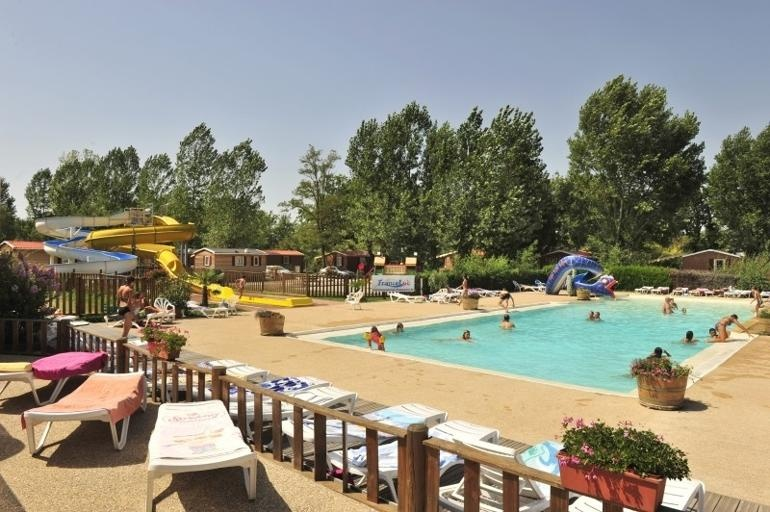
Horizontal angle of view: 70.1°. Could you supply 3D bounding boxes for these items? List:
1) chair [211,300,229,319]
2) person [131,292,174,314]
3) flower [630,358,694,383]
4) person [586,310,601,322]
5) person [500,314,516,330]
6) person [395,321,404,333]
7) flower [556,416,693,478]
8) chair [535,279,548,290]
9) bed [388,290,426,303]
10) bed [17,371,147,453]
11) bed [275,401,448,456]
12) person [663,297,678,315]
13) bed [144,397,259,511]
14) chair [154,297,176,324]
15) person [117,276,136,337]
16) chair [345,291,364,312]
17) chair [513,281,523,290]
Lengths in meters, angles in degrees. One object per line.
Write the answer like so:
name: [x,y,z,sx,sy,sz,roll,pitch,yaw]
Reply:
chair: [-7.605,2.501,25.530,0.808,0.878,0.620,1,-2,-2]
person: [-9.646,1.974,22.751,1.117,0.802,0.726,-14,27,-28]
flower: [6.325,2.599,12.643,1.145,0.436,0.864,0,-2,16]
person: [11.019,3.204,28.869,0.621,0.546,0.766,-1,-8,10]
person: [5.664,3.046,25.397,0.566,0.682,0.955,0,-2,16]
person: [0.594,2.967,22.805,0.350,0.420,0.853,0,-2,1]
flower: [3.189,2.619,7.404,1.274,0.416,1.027,2,1,26]
chair: [13.327,2.479,47.268,0.795,0.951,3.449,0,-2,12]
bed: [1.386,2.735,35.079,1.650,0.615,0.877,-5,2,11]
bed: [-5.384,2.887,10.288,1.382,0.777,2.531,1,3,-6]
bed: [-0.226,3.093,10.113,2.804,0.419,1.179,-4,6,-43]
person: [16.478,2.875,31.786,0.653,0.941,2.217,0,-2,29]
bed: [-3.027,3.199,8.944,1.593,1.265,1.900,1,-2,-24]
chair: [-9.195,2.302,22.814,0.931,1.387,0.986,-2,2,-41]
person: [-8.282,1.710,17.807,0.676,2.060,0.552,-2,12,-44]
chair: [-1.657,2.508,30.034,0.924,1.247,0.955,-2,-1,42]
chair: [10.973,2.528,45.566,0.721,0.971,0.695,-2,5,20]
